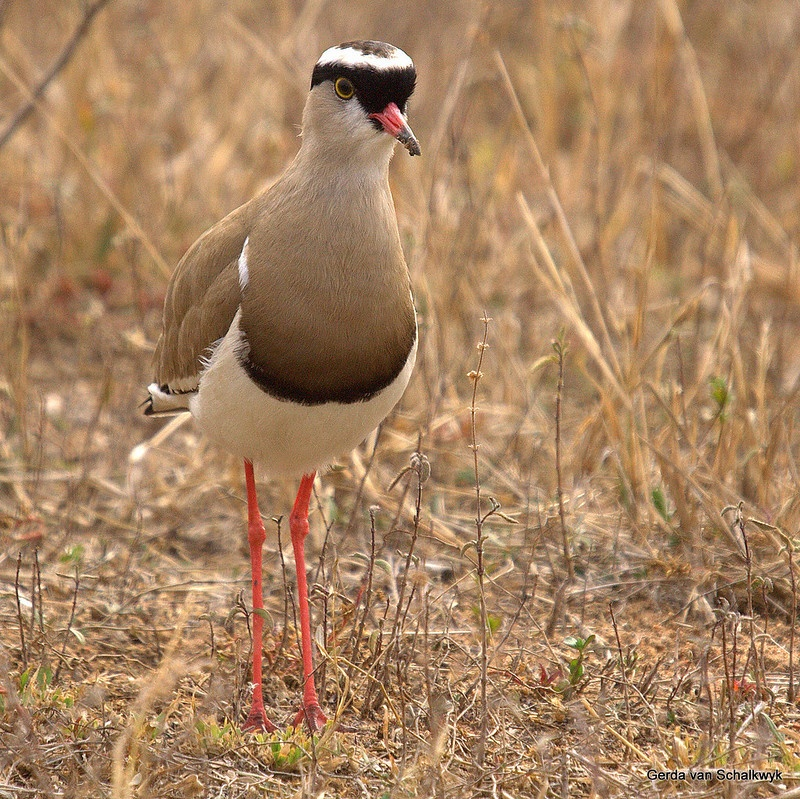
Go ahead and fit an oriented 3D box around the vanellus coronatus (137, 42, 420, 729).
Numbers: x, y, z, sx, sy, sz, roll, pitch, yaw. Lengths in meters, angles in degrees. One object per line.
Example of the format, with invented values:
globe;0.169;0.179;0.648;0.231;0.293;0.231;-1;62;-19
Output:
vanellus coronatus;-0.446;-0.081;4.019;1.007;2.295;0.745;12;20;33
